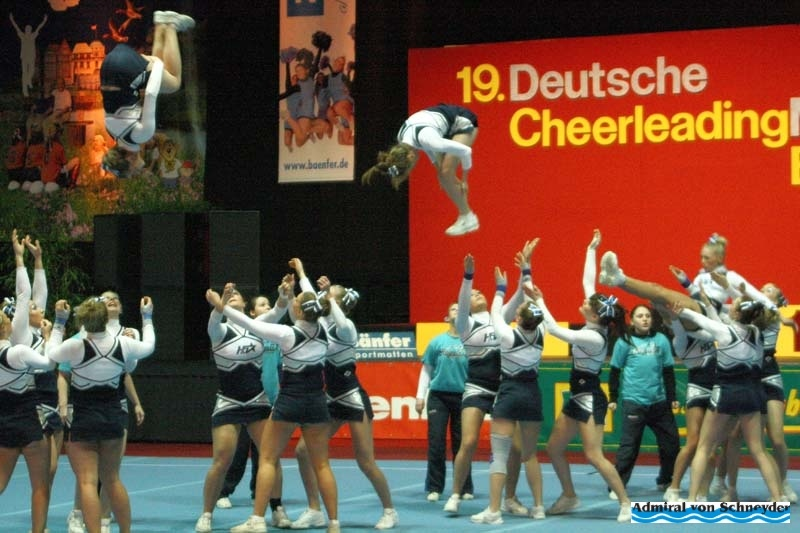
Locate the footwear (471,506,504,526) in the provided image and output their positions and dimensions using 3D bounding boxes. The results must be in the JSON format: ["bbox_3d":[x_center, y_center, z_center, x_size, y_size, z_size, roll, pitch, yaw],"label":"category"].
[{"bbox_3d":[1.169,3.328,14.025,0.406,0.201,0.194,3,-5,6],"label":"footwear"}]

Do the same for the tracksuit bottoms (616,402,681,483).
[{"bbox_3d":[3.675,2.637,15.602,1.023,1.324,0.492,0,-1,-6],"label":"tracksuit bottoms"}]

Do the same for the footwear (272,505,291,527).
[{"bbox_3d":[-1.598,3.358,14.107,0.242,0.269,0.171,0,-1,-9],"label":"footwear"}]

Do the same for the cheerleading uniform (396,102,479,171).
[{"bbox_3d":[0.565,-1.679,13.259,0.938,1.006,0.772,3,-1,-30],"label":"cheerleading uniform"}]

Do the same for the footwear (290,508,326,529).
[{"bbox_3d":[-1.216,3.387,14.136,0.531,0.275,0.193,4,-7,-13],"label":"footwear"}]

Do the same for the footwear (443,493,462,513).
[{"bbox_3d":[0.726,3.309,14.701,0.230,0.270,0.229,0,-1,2],"label":"footwear"}]

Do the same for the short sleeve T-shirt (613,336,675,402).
[{"bbox_3d":[3.624,1.493,15.625,0.916,1.116,0.587,-2,6,-1],"label":"short sleeve T-shirt"}]

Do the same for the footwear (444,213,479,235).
[{"bbox_3d":[0.794,-0.554,13.557,0.414,0.275,0.269,0,-1,-12],"label":"footwear"}]

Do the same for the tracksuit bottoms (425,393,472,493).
[{"bbox_3d":[0.646,2.616,15.564,0.526,1.535,0.400,0,-1,-1],"label":"tracksuit bottoms"}]

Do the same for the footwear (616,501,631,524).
[{"bbox_3d":[3.004,3.285,14.031,0.174,0.253,0.162,0,-1,6],"label":"footwear"}]

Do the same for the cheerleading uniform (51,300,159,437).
[{"bbox_3d":[-3.810,1.727,13.354,1.259,2.583,0.674,0,11,-21],"label":"cheerleading uniform"}]

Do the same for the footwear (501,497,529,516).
[{"bbox_3d":[1.622,3.341,14.614,0.182,0.137,0.323,2,-3,-39],"label":"footwear"}]

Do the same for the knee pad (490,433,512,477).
[{"bbox_3d":[1.331,2.481,13.918,0.258,0.532,0.150,0,-1,4],"label":"knee pad"}]

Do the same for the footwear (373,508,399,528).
[{"bbox_3d":[-0.176,3.349,14.037,0.328,0.268,0.270,0,-1,-10],"label":"footwear"}]
